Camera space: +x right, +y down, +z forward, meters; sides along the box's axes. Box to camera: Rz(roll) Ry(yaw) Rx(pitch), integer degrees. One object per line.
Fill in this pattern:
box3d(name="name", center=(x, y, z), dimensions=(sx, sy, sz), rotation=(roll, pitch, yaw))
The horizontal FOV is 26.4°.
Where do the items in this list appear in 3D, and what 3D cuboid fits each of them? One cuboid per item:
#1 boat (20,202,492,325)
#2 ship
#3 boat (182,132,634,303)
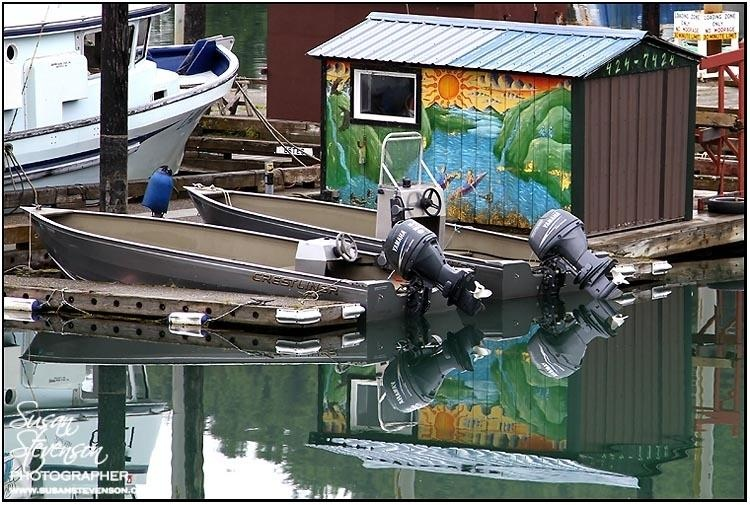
box3d(name="boat", center=(-2.156, 0.126, 23.455), dimensions=(6.361, 1.872, 1.115), rotation=(-2, -4, 13))
box3d(name="ship", center=(-4.464, -2.773, 27.895), dimensions=(1.645, 3.554, 5.292), rotation=(-3, -4, 26))
box3d(name="boat", center=(0.795, -0.477, 24.545), dimensions=(5.916, 1.933, 1.177), rotation=(15, 21, 28))
